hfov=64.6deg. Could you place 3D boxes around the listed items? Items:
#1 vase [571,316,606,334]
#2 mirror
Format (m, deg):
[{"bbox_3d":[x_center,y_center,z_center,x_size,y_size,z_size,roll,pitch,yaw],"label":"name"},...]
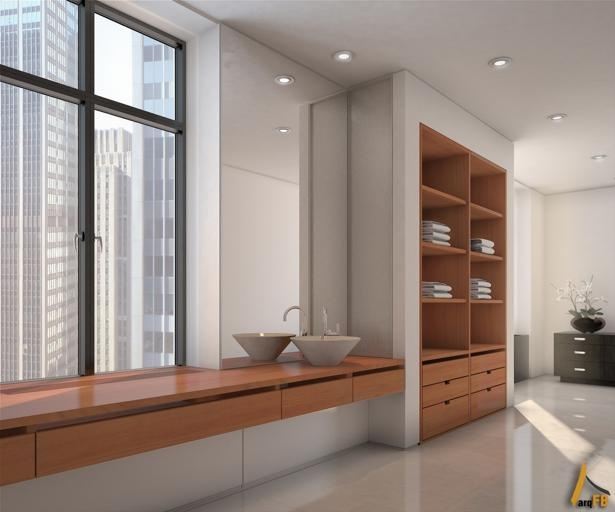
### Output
[{"bbox_3d":[3.873,0.946,6.670,0.285,0.156,0.283,-1,-2,-7],"label":"vase"},{"bbox_3d":[-0.277,-0.385,3.453,0.065,2.210,0.844,-2,-3,42],"label":"mirror"}]
